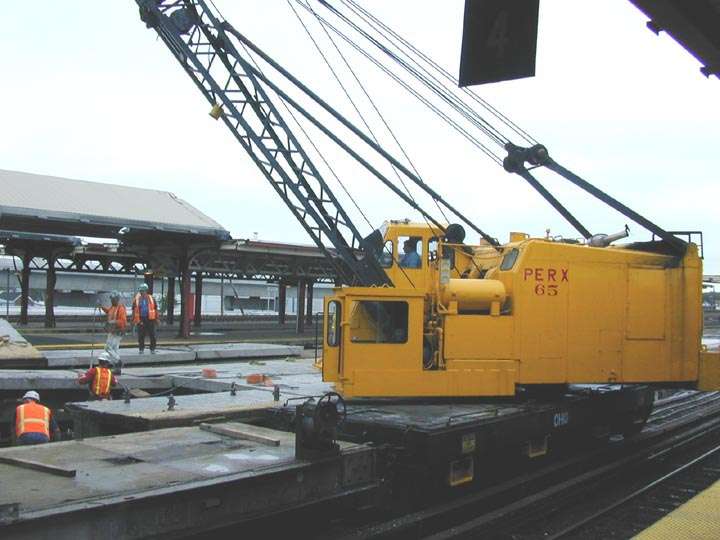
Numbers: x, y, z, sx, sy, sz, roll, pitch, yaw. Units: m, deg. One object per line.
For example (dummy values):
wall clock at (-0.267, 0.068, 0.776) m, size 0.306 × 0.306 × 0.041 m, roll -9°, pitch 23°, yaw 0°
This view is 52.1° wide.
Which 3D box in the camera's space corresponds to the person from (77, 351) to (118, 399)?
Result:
person at (-6.026, 2.473, 16.994) m, size 0.710 × 1.506 × 0.508 m, roll 14°, pitch 0°, yaw -36°

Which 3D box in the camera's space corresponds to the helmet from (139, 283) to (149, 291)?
helmet at (-8.337, 0.656, 28.558) m, size 0.296 × 0.252 × 0.446 m, roll 3°, pitch -6°, yaw -6°

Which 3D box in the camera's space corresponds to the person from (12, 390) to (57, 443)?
person at (-5.578, 2.541, 12.614) m, size 0.595 × 0.429 × 1.087 m, roll 7°, pitch 24°, yaw -34°
